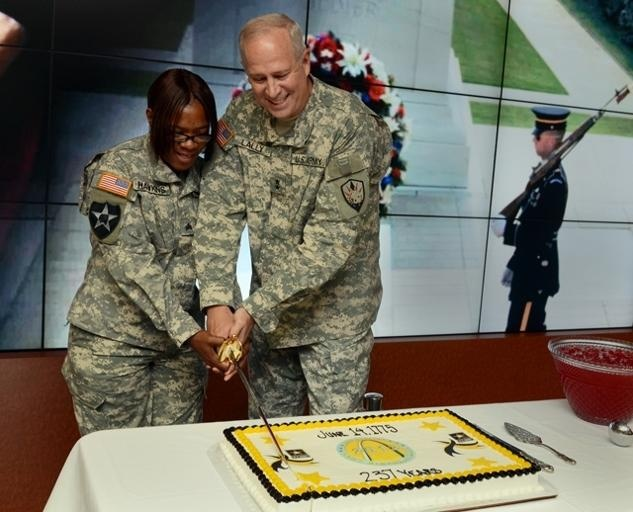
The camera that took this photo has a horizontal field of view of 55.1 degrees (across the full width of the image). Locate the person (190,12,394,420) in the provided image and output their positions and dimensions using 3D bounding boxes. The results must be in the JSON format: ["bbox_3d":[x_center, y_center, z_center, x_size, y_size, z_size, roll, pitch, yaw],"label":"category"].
[{"bbox_3d":[-0.101,-0.082,2.189,0.685,1.438,0.513,4,5,6],"label":"person"}]

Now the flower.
[{"bbox_3d":[0.280,-0.896,4.278,0.916,1.165,0.356,-26,13,-8],"label":"flower"}]

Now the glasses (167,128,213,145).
[{"bbox_3d":[-0.430,-0.418,2.174,0.162,0.054,0.054,-1,6,-44],"label":"glasses"}]

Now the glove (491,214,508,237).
[{"bbox_3d":[1.269,-0.211,4.255,0.103,0.156,0.154,0,29,12],"label":"glove"}]

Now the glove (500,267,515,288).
[{"bbox_3d":[1.353,0.149,4.306,0.074,0.132,0.053,2,9,0],"label":"glove"}]

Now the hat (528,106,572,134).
[{"bbox_3d":[1.633,-0.961,4.265,0.236,0.131,0.200,-11,22,-11],"label":"hat"}]
